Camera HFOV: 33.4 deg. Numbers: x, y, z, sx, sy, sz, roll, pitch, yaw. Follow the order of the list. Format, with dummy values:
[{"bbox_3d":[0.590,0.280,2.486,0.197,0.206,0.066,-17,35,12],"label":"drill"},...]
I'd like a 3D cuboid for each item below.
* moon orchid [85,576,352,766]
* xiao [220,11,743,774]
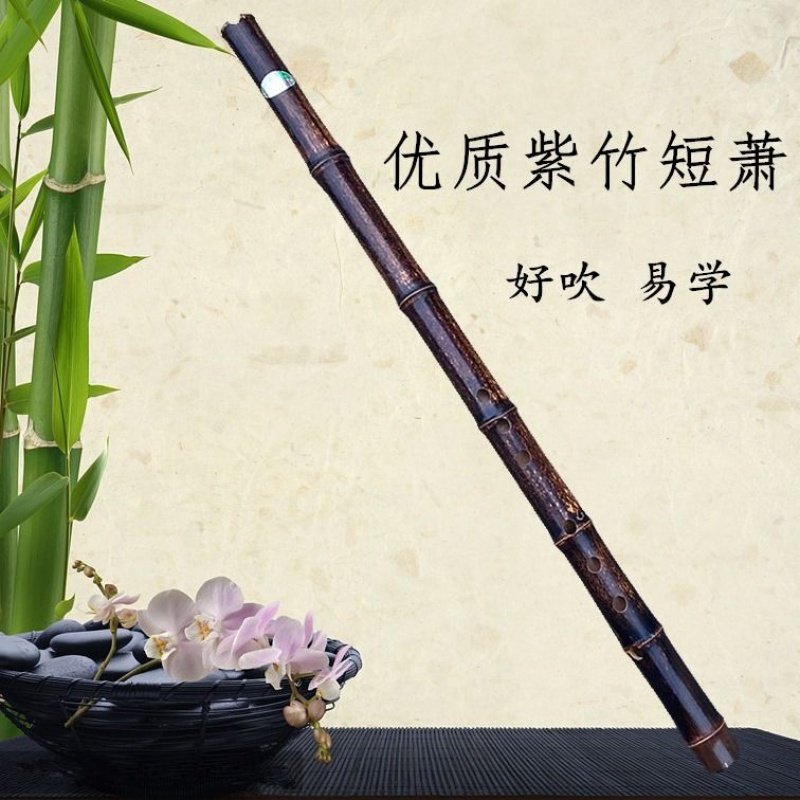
[{"bbox_3d":[-0.163,0.255,1.367,0.325,0.144,0.148,18,-11,10],"label":"moon orchid"},{"bbox_3d":[0.112,0.025,1.844,0.103,1.318,0.105,-43,-2,-34],"label":"xiao"}]
